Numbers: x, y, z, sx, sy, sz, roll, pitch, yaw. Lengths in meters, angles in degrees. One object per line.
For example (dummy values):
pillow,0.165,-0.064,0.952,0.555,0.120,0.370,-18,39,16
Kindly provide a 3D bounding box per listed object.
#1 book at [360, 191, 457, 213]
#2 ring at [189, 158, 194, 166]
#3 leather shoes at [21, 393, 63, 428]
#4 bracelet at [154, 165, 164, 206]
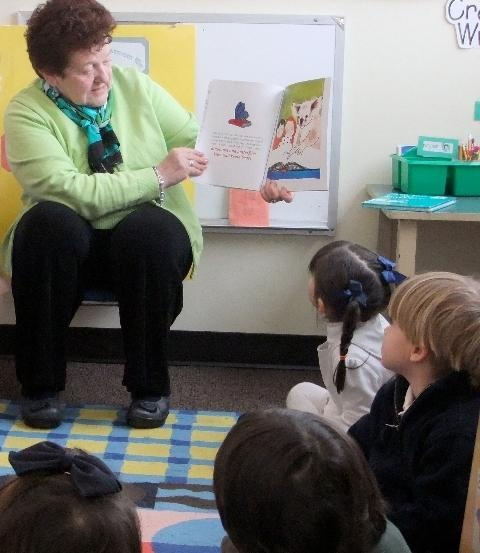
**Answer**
book,0.495,-0.221,1.458,0.234,0.059,0.320,6,8,24
ring,-0.145,-0.335,1.450,0.005,0.015,0.015,1,3,-20
leather shoes,-0.585,0.382,1.474,0.129,0.087,0.077,10,8,22
bracelet,-0.234,-0.255,1.458,0.022,0.079,0.059,-2,28,-9
